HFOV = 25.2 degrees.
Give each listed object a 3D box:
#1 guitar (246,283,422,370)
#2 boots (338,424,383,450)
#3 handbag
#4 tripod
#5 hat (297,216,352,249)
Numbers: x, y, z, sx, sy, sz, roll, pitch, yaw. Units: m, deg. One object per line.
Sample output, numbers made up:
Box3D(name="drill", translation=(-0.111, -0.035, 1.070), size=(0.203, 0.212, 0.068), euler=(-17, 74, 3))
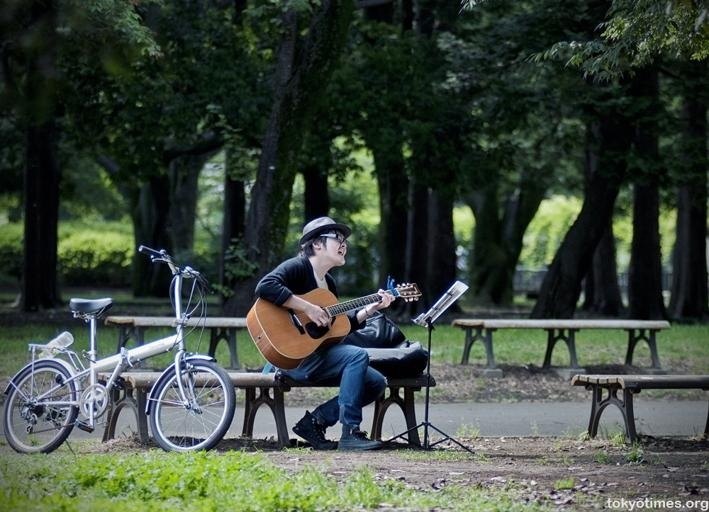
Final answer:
Box3D(name="guitar", translation=(-0.240, 0.916, 22.278), size=(2.546, 1.115, 0.367), euler=(-17, -14, -23))
Box3D(name="boots", translation=(0.149, 2.568, 22.149), size=(0.724, 0.448, 0.263), euler=(-2, -2, 2))
Box3D(name="handbag", translation=(0.395, 1.361, 22.748), size=(1.087, 1.032, 0.965), euler=(3, 5, -19))
Box3D(name="tripod", translation=(1.123, 1.858, 22.606), size=(1.016, 1.900, 1.144), euler=(5, 4, -8))
Box3D(name="hat", translation=(-0.455, -0.417, 22.331), size=(0.504, 0.201, 0.468), euler=(-20, -9, 4))
